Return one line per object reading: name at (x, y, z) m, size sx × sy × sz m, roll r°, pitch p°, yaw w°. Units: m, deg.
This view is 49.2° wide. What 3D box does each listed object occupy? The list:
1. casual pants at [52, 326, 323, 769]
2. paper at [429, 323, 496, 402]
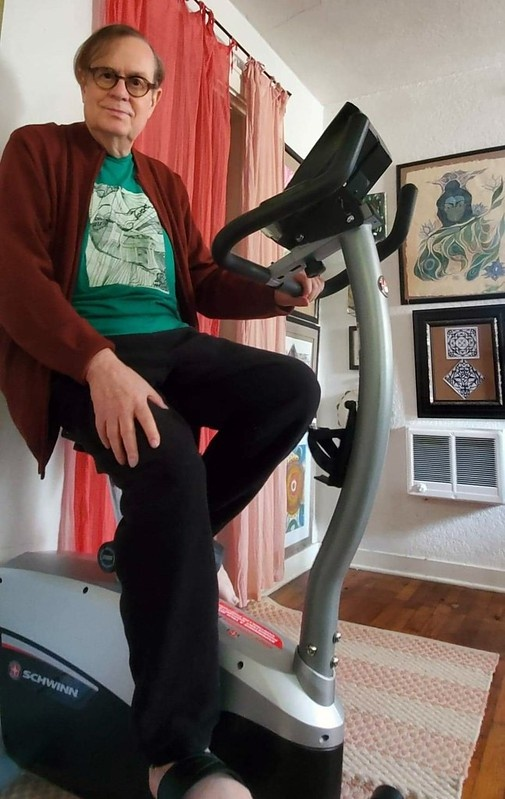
casual pants at (-0.095, 0.161, 0.877) m, size 0.331 × 0.601 × 0.349 m, roll -2°, pitch -6°, yaw 45°
paper at (0.958, -0.161, 2.494) m, size 0.304 × 0.448 × 0.019 m, roll -5°, pitch -7°, yaw 37°
